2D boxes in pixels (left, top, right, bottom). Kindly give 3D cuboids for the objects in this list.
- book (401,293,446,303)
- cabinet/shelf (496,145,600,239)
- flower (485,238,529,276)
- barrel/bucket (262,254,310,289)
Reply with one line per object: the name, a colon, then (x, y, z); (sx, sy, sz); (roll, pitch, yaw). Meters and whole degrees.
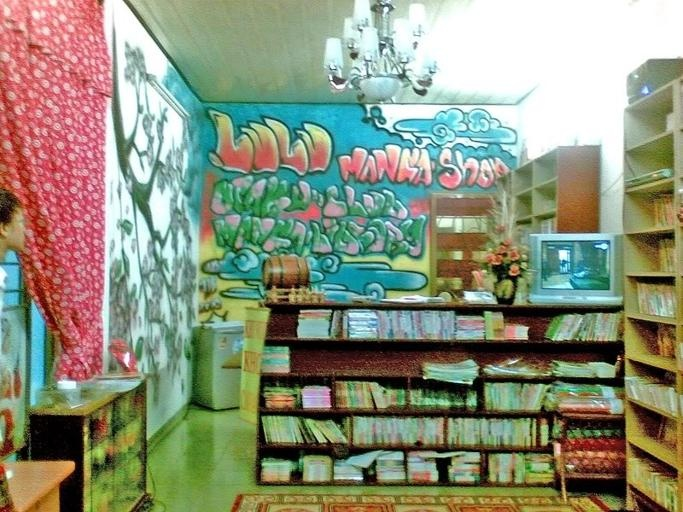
book: (0.756, 0.377, 5.471); (0.412, 0.047, 0.522); (1, 5, 15)
cabinet/shelf: (2.245, -0.679, 6.540); (0.496, 1.127, 1.381); (1, -3, 3)
flower: (1.391, 0.032, 5.153); (0.360, 0.298, 0.336); (-4, -13, 34)
barrel/bucket: (-0.533, 0.122, 5.875); (0.551, 0.310, 0.367); (3, 10, -7)
